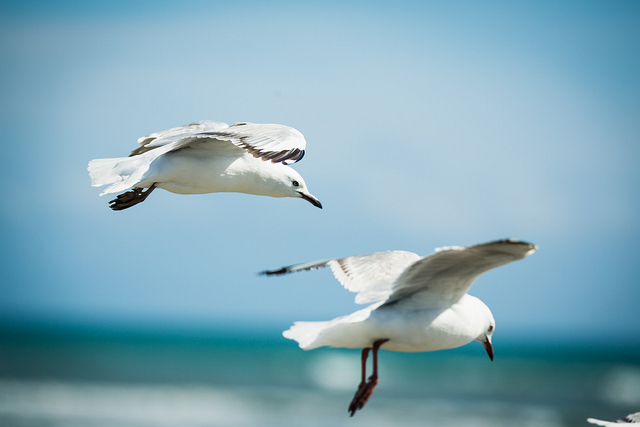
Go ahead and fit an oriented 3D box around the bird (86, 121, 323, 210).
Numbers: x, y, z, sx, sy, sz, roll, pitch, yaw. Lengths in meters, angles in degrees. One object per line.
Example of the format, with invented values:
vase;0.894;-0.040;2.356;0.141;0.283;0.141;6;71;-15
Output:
bird;-0.734;-0.374;7.154;1.216;0.261;1.199;3;-3;-21
